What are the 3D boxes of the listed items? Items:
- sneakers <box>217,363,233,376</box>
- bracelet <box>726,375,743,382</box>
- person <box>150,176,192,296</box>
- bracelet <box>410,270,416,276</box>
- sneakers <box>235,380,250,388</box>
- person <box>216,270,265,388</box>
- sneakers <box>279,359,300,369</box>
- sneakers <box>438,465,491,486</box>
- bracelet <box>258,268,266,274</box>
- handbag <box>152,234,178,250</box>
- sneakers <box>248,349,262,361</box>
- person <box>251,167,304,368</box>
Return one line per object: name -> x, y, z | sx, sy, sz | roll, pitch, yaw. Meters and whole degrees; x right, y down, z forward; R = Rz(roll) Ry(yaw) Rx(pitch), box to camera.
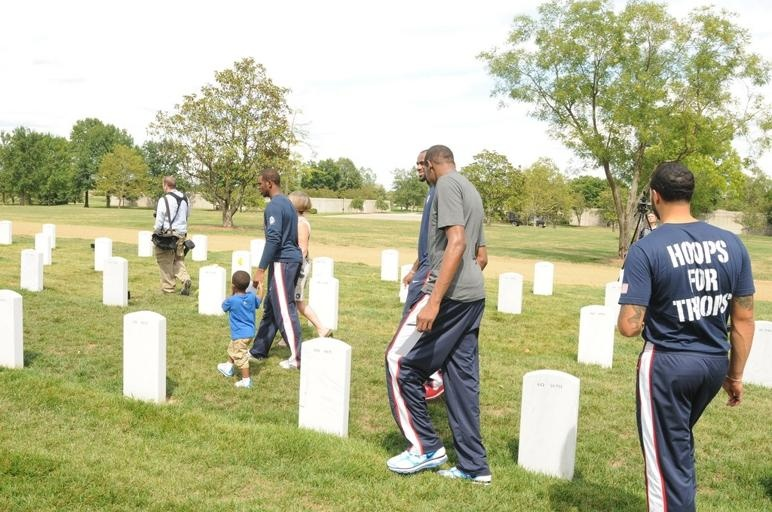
sneakers -> -2.288, 1.627, 10.274 | 0.113, 0.134, 0.301 | 3, 14, -38
bracelet -> 3.563, 1.238, 7.384 | 0.150, 0.034, 0.084 | 8, -5, -16
person -> -4.179, -0.391, 14.157 | 0.790, 2.283, 1.260 | 3, 3, -16
bracelet -> 0.388, 0.257, 10.539 | 0.071, 0.100, 0.071 | -1, 10, -24
sneakers -> -1.986, 1.760, 9.982 | 0.188, 0.079, 0.095 | 3, -1, 31
person -> -2.091, 1.005, 10.267 | 0.550, 1.569, 0.808 | 3, 3, -13
sneakers -> -1.409, 1.593, 10.639 | 0.314, 0.129, 0.111 | 4, -3, -1
sneakers -> 0.893, 2.449, 8.278 | 0.645, 0.248, 0.216 | 7, -7, 8
bracelet -> -1.746, 0.216, 10.085 | 0.066, 0.067, 0.066 | 2, 1, 30
handbag -> -4.300, -0.263, 13.921 | 0.339, 0.148, 0.350 | 4, 3, 36
sneakers -> -1.947, 1.483, 10.741 | 0.283, 0.097, 0.120 | -7, -24, -22
person -> -1.546, 0.201, 10.457 | 0.733, 2.885, 0.776 | 4, 3, -11
